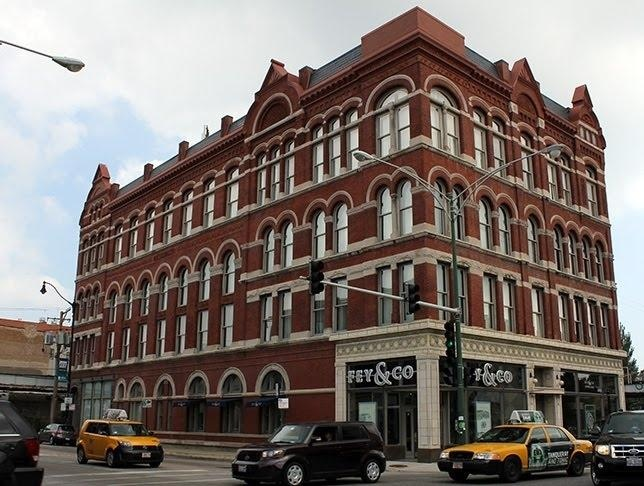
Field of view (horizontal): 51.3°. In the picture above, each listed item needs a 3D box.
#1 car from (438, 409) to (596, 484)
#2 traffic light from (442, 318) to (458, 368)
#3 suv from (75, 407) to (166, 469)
[{"bbox_3d":[7.161,7.569,24.328,5.555,2.033,1.489,12,-23,-27],"label":"car"},{"bbox_3d":[5.244,4.051,27.273,0.395,1.828,0.796,-3,-21,9],"label":"traffic light"},{"bbox_3d":[-9.239,9.102,30.656,4.126,2.151,1.778,-15,-25,35],"label":"suv"}]
